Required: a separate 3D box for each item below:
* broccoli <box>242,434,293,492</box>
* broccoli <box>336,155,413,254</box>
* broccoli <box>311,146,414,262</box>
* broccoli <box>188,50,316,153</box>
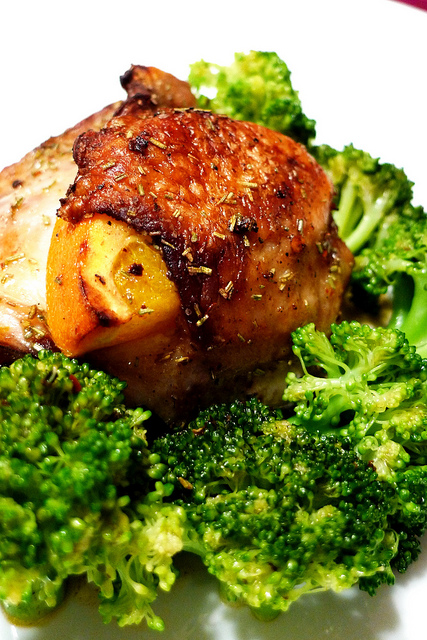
[{"bbox_3d":[0.132,0.350,1.538,0.119,0.124,0.114,-4,18,6],"label":"broccoli"},{"bbox_3d":[0.543,-0.379,2.176,0.236,0.317,0.194,37,21,-1],"label":"broccoli"},{"bbox_3d":[0.432,-0.406,2.290,0.389,0.395,0.288,-11,-23,-3],"label":"broccoli"},{"bbox_3d":[0.131,-0.837,2.461,0.354,0.368,0.438,33,20,-3],"label":"broccoli"}]
